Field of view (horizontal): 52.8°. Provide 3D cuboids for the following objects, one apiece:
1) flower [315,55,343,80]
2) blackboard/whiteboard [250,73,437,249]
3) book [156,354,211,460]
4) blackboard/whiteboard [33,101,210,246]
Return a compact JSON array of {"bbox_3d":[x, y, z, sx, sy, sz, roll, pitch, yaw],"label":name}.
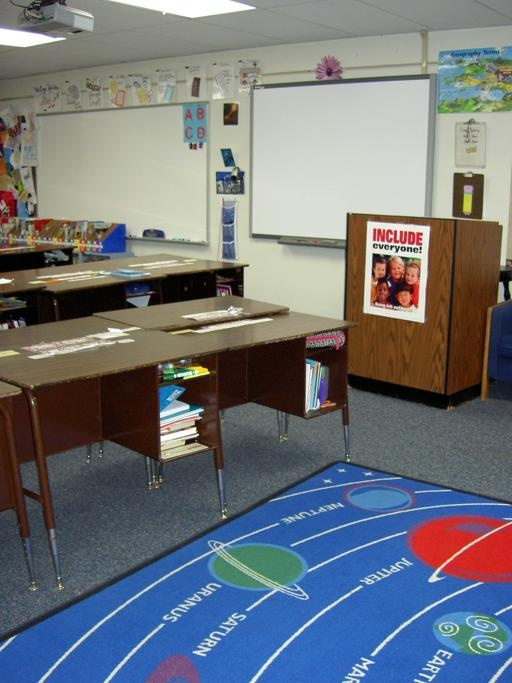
[{"bbox_3d":[0.705,-2.645,5.023,0.255,0.250,0.093,14,19,35],"label":"flower"},{"bbox_3d":[0.886,-1.798,4.976,2.118,1.605,0.101,7,12,29],"label":"blackboard/whiteboard"},{"bbox_3d":[-0.337,0.289,2.242,0.250,0.409,0.227,-4,4,-27],"label":"book"},{"bbox_3d":[-1.874,-2.271,6.961,3.147,2.130,0.149,1,4,34],"label":"blackboard/whiteboard"}]
